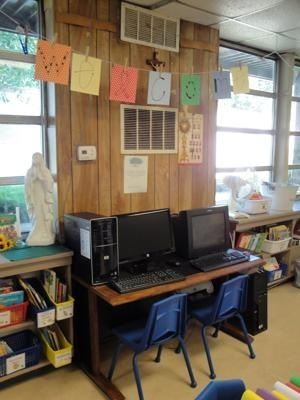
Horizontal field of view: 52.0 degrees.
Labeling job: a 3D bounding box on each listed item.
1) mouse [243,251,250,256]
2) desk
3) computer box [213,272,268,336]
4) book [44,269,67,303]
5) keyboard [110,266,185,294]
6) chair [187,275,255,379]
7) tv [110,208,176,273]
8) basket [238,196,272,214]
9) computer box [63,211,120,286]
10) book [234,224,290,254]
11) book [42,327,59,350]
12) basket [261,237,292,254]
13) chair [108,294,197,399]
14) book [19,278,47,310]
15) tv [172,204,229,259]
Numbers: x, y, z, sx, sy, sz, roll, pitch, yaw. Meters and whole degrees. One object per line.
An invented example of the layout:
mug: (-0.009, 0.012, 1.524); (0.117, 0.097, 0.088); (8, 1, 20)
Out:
mouse: (0.757, 0.422, 2.382); (0.033, 0.020, 0.051); (3, 7, 4)
desk: (-0.036, 0.636, 1.808); (1.021, 0.593, 0.562); (-6, 12, -36)
computer box: (0.830, 0.802, 2.515); (0.178, 0.443, 0.290); (-6, 6, -23)
book: (-0.563, 0.518, 1.824); (0.063, 0.182, 0.167); (-6, 4, -26)
keyboard: (-0.026, 0.462, 1.803); (0.458, 0.033, 0.252); (-1, 2, -35)
chair: (0.446, 0.761, 2.057); (0.426, 0.649, 0.417); (13, 18, 40)
tv: (-0.047, 0.274, 2.024); (0.091, 0.282, 0.329); (2, 5, 43)
basket: (1.048, 0.058, 3.062); (0.213, 0.107, 0.170); (-4, 8, -37)
computer box: (-0.335, 0.278, 1.837); (0.219, 0.375, 0.391); (-1, 1, -35)
book: (1.196, 0.416, 3.170); (0.313, 0.177, 0.462); (8, 11, 43)
book: (-0.592, 0.815, 1.866); (0.031, 0.085, 0.138); (-16, 56, -32)
basket: (1.347, 0.489, 3.283); (0.247, 0.112, 0.165); (0, 2, -42)
chair: (0.006, 0.889, 1.820); (0.413, 0.695, 0.405); (-6, 13, -38)
book: (-0.682, 0.541, 1.785); (0.254, 0.144, 0.078); (1, 1, 41)
tv: (0.414, 0.242, 2.401); (0.373, 0.386, 0.235); (-7, 6, -23)
